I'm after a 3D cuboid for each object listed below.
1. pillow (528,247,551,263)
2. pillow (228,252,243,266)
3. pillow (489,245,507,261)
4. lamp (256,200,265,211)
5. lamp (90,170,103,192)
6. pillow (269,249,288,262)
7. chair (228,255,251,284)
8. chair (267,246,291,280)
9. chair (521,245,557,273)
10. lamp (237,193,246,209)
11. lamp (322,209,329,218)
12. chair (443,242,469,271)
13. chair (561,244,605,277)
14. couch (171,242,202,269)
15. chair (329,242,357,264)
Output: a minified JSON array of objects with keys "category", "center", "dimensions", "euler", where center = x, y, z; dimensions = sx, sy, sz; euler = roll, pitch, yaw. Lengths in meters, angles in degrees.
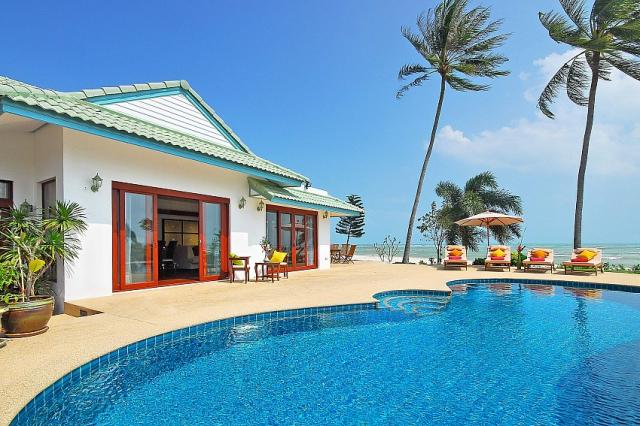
[{"category":"pillow","center":[10.919,2.089,21.271],"dimensions":[0.971,0.616,1.206],"euler":[-4,-6,32]},{"category":"pillow","center":[-3.501,1.921,17.691],"dimensions":[0.519,0.666,0.511],"euler":[0,-2,1]},{"category":"pillow","center":[9.303,2.146,22.328],"dimensions":[0.712,0.219,0.733],"euler":[1,39,35]},{"category":"lamp","center":[-2.670,-0.339,19.220],"dimensions":[0.475,0.514,0.143],"euler":[4,-7,-43]},{"category":"lamp","center":[-7.584,-1.070,14.490],"dimensions":[0.385,0.655,0.198],"euler":[3,-6,-35]},{"category":"pillow","center":[-1.854,1.962,18.263],"dimensions":[0.530,0.170,0.564],"euler":[-4,39,22]},{"category":"chair","center":[-3.386,2.189,17.791],"dimensions":[0.958,1.124,1.446],"euler":[0,-3,-1]},{"category":"chair","center":[-2.021,2.295,18.688],"dimensions":[1.014,1.200,1.115],"euler":[-3,-8,18]},{"category":"chair","center":[11.072,2.307,21.470],"dimensions":[1.166,1.023,1.670],"euler":[-3,-6,32]},{"category":"lamp","center":[-3.382,-0.492,18.527],"dimensions":[0.102,0.560,0.427],"euler":[-4,-6,34]},{"category":"lamp","center":[0.290,0.048,22.705],"dimensions":[0.405,0.454,0.300],"euler":[4,-8,-43]},{"category":"chair","center":[7.329,2.333,22.976],"dimensions":[0.993,0.969,1.496],"euler":[-1,-4,17]},{"category":"chair","center":[12.748,2.258,20.445],"dimensions":[1.206,1.133,2.178],"euler":[-4,-7,38]},{"category":"couch","center":[-6.728,2.196,21.549],"dimensions":[1.597,1.301,1.655],"euler":[0,-4,-8]},{"category":"chair","center":[1.471,2.636,28.462],"dimensions":[1.561,1.160,1.945],"euler":[0,-5,-1]}]
